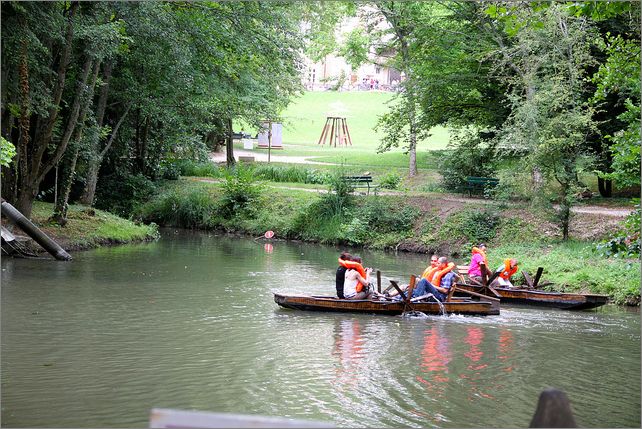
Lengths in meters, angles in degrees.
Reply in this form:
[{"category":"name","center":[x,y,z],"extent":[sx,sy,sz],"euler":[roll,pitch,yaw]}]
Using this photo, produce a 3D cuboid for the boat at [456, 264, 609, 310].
[{"category":"boat","center":[8.295,2.908,26.281],"extent":[5.610,1.452,1.481],"euler":[2,-1,35]}]
